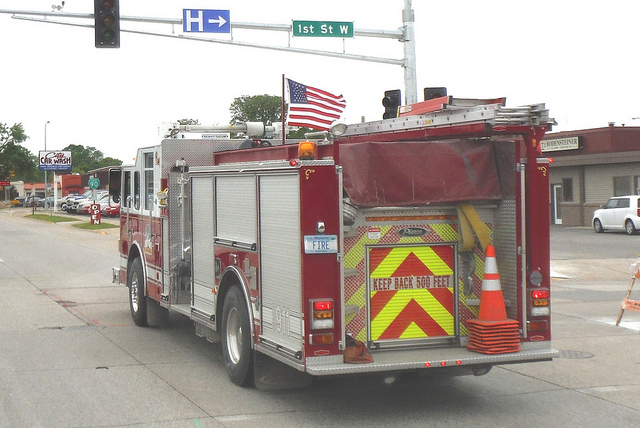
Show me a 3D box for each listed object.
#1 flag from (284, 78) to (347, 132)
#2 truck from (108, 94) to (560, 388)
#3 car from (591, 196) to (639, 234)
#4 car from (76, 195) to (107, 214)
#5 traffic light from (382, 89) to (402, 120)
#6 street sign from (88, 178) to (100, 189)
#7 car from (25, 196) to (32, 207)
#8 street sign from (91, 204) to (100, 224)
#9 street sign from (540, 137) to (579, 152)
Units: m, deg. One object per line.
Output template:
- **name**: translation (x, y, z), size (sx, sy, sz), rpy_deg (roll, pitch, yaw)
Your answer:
- **flag**: translation (-0.044, -2.069, 12.520), size (1.114, 0.979, 0.109), rpy_deg (6, -7, -5)
- **truck**: translation (-0.127, 0.443, 10.245), size (6.952, 4.320, 3.155), rpy_deg (4, 5, 42)
- **car**: translation (15.967, 0.044, 34.281), size (0.744, 2.053, 3.365), rpy_deg (-1, 4, -11)
- **car**: translation (-19.377, -0.784, 54.692), size (4.557, 1.551, 2.095), rpy_deg (1, -2, -23)
- **traffic light**: translation (1.986, -3.006, 17.626), size (0.563, 1.072, 0.646), rpy_deg (-7, 49, 5)
- **street sign**: translation (-14.869, -2.021, 42.384), size (0.529, 0.719, 1.722), rpy_deg (-1, 4, -18)
- **car**: translation (-44.735, -1.982, 98.225), size (1.432, 1.255, 2.296), rpy_deg (-1, 0, -20)
- **street sign**: translation (-14.439, -0.040, 41.351), size (0.475, 1.266, 1.688), rpy_deg (-1, 4, -14)
- **street sign**: translation (15.552, -4.523, 41.512), size (0.370, 0.849, 2.887), rpy_deg (-2, 4, -25)
